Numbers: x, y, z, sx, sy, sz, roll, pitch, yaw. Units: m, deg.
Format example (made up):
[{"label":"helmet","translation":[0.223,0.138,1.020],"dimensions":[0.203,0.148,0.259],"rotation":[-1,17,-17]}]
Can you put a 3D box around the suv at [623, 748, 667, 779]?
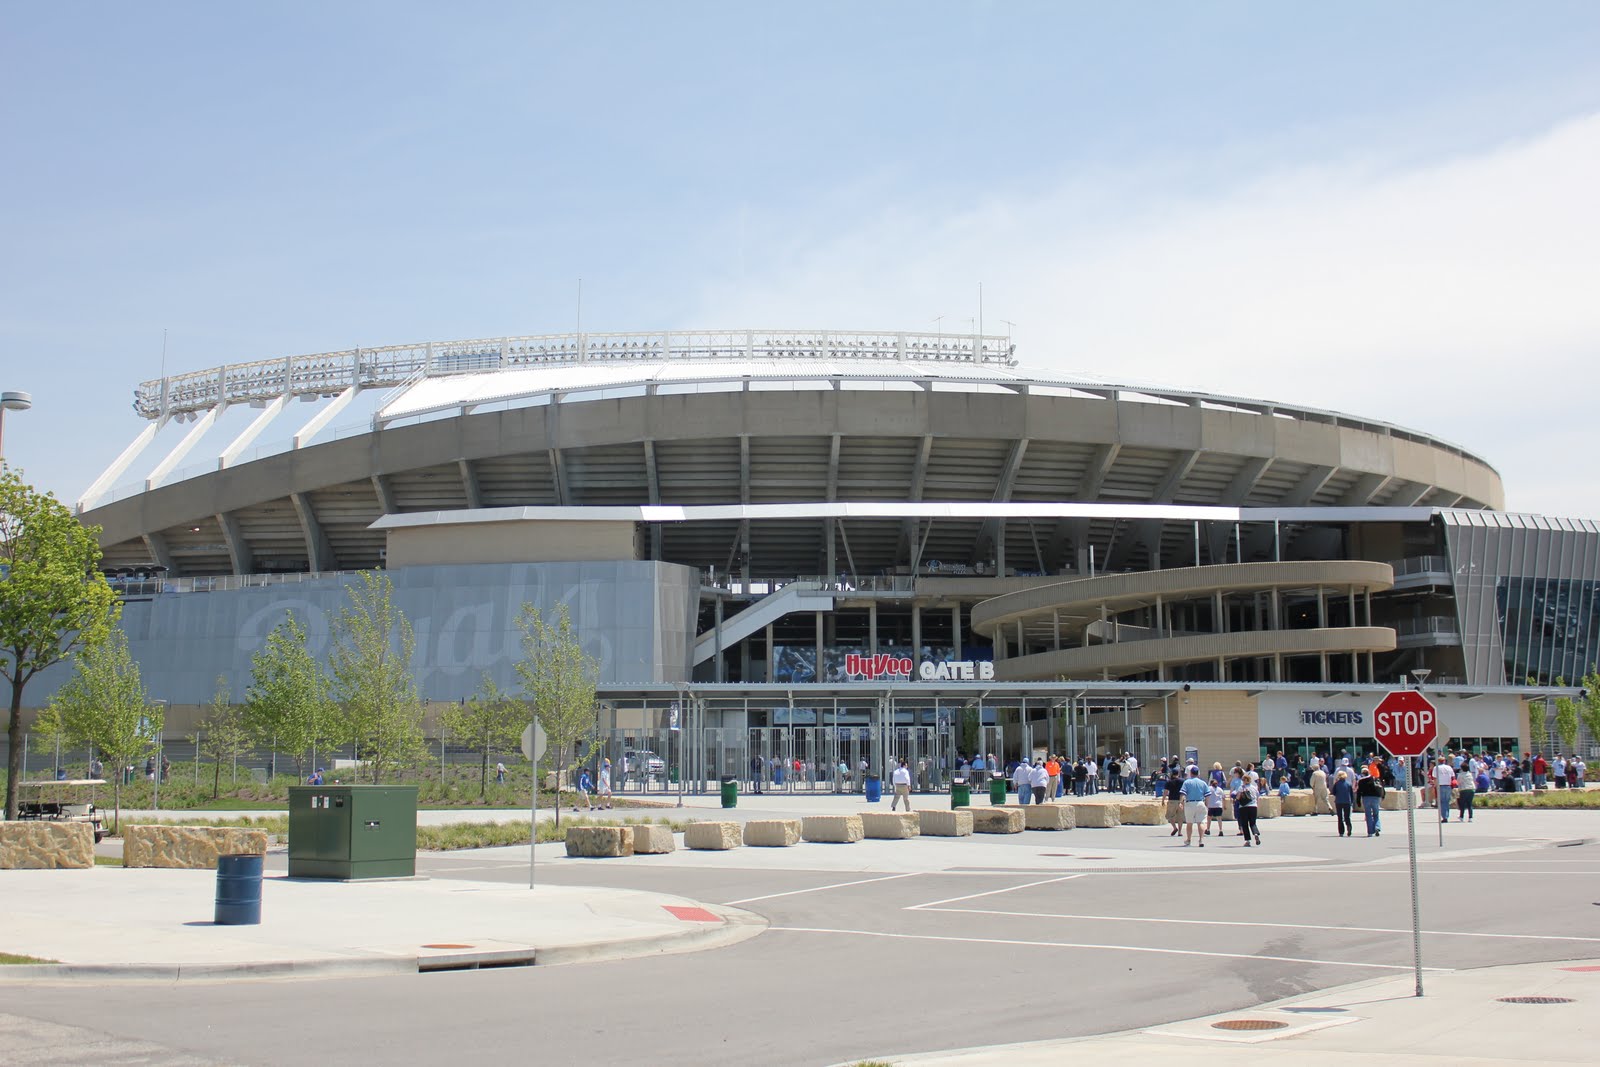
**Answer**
[{"label":"suv","translation":[-5.727,8.729,84.889],"dimensions":[1.944,1.271,0.974],"rotation":[-1,-27,19]}]

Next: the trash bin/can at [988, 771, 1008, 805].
[{"label":"trash bin/can","translation":[6.546,8.704,76.448],"dimensions":[0.822,1.286,0.834],"rotation":[-2,-3,18]}]

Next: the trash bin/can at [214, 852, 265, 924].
[{"label":"trash bin/can","translation":[-12.374,7.841,50.038],"dimensions":[0.959,1.628,0.709],"rotation":[-1,-11,-13]}]

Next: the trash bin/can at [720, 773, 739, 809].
[{"label":"trash bin/can","translation":[-2.309,8.583,74.660],"dimensions":[0.495,1.038,1.137],"rotation":[-2,-11,-11]}]
